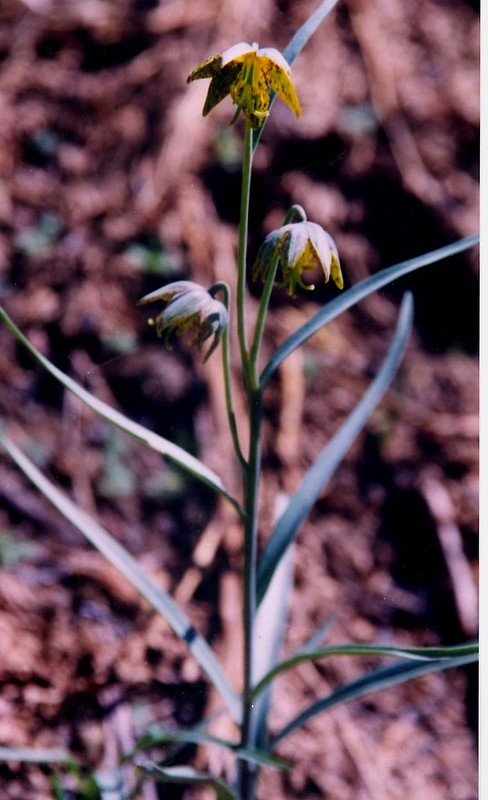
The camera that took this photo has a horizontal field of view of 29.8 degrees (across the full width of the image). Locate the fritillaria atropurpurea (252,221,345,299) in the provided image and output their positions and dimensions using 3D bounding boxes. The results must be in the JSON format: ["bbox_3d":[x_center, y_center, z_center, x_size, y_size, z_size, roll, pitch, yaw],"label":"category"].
[{"bbox_3d":[0.051,-0.134,0.942,0.083,0.071,0.085,1,-20,-11],"label":"fritillaria atropurpurea"}]

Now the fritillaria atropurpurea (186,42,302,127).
[{"bbox_3d":[0.004,-0.308,0.876,0.126,0.110,0.060,7,-82,-2],"label":"fritillaria atropurpurea"}]
